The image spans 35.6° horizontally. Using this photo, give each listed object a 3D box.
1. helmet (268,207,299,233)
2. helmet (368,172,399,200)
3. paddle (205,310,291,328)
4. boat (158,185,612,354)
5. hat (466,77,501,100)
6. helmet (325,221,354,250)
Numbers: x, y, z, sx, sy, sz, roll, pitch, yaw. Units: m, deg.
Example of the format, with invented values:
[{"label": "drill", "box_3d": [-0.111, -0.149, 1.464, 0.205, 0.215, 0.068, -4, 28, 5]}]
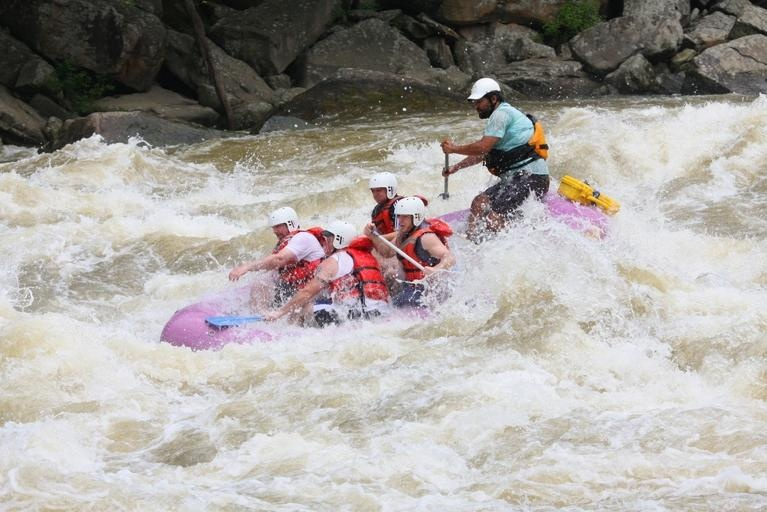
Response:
[{"label": "helmet", "box_3d": [-1.523, -0.578, 18.330, 0.448, 0.318, 0.337, -24, 21, -15]}, {"label": "helmet", "box_3d": [-0.002, -1.113, 18.784, 0.479, 0.318, 0.359, -15, 18, -15]}, {"label": "paddle", "box_3d": [-2.079, 0.948, 17.549, 1.090, 0.140, 0.271, -2, 37, -9]}, {"label": "boat", "box_3d": [0.151, 0.160, 18.225, 6.198, 0.988, 2.809, -15, 15, -10]}, {"label": "hat", "box_3d": [1.575, -2.621, 18.848, 0.526, 0.257, 0.361, -5, 10, -15]}, {"label": "helmet", "box_3d": [-0.664, -0.309, 17.912, 0.503, 0.348, 0.330, 8, 15, 1]}]
